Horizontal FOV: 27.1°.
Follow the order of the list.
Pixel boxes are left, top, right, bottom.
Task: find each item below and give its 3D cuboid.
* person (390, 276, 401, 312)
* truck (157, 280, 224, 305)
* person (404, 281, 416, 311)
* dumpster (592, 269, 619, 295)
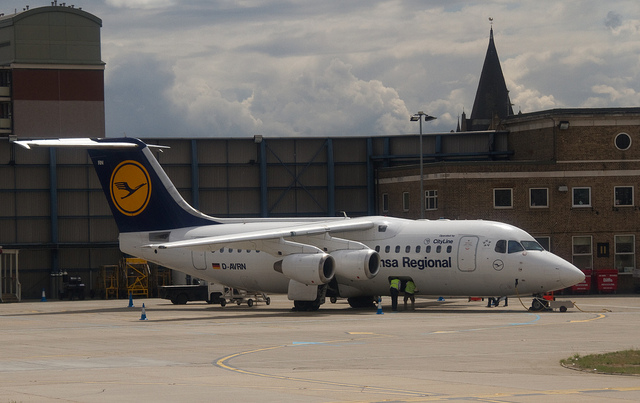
[{"bbox_3d":[4.605,5.673,81.510,0.588,2.095,0.761,-1,-5,11],"label":"person"},{"bbox_3d":[-8.967,6.230,89.777,3.414,1.070,2.260,0,-1,-12],"label":"truck"},{"bbox_3d":[5.529,5.798,81.596,0.703,1.717,0.716,0,-5,2],"label":"person"},{"bbox_3d":[20.736,5.778,93.430,1.521,1.723,1.901,15,-15,-43],"label":"dumpster"}]
